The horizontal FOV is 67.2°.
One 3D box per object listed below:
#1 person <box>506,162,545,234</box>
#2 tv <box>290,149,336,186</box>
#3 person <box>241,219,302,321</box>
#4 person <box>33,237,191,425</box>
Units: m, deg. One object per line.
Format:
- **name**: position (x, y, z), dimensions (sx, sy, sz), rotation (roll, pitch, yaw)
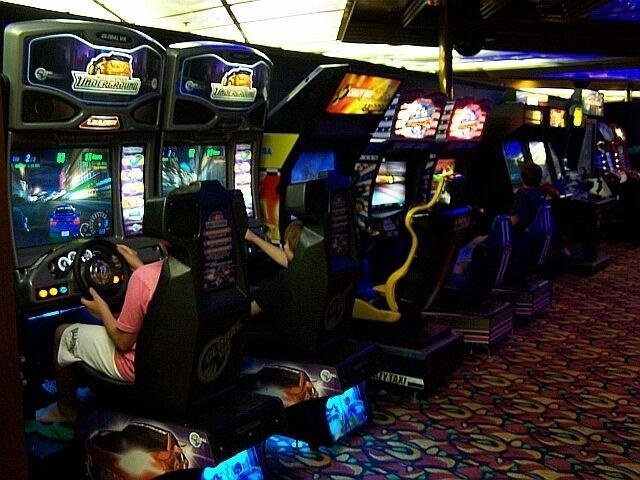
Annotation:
- **person**: position (2.654, -0.561, 6.156), dimensions (0.382, 0.828, 0.871), rotation (3, 10, 25)
- **tv**: position (-0.086, -0.644, 4.271), dimensions (0.072, 0.257, 0.561), rotation (13, 15, 31)
- **person**: position (-0.343, 0.181, 3.455), dimensions (0.340, 0.718, 0.897), rotation (-2, 9, -10)
- **person**: position (-1.205, 0.505, 2.676), dimensions (0.663, 1.091, 0.481), rotation (10, 4, 2)
